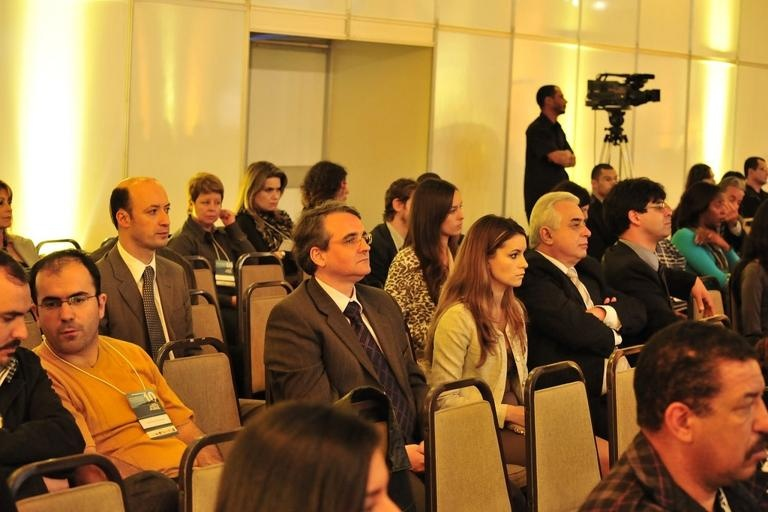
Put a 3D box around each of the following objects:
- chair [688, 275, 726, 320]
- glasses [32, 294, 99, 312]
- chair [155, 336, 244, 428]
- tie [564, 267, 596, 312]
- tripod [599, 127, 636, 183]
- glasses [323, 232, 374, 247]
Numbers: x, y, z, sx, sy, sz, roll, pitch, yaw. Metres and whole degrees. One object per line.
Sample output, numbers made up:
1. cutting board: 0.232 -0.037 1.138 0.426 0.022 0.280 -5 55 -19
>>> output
1. chair: 2.678 0.355 5.308 0.234 0.413 0.225 -21 23 -34
2. glasses: -1.463 0.213 2.950 0.235 0.070 0.067 -3 5 -22
3. chair: -0.927 0.645 3.200 0.365 0.465 0.173 -5 7 -41
4. tie: 1.315 0.217 4.289 0.108 0.275 0.203 -30 14 46
5. tripod: 3.428 -1.528 9.492 0.605 0.679 0.604 17 36 36
6. glasses: -0.141 -0.088 3.424 0.191 0.066 0.079 -5 6 -43
